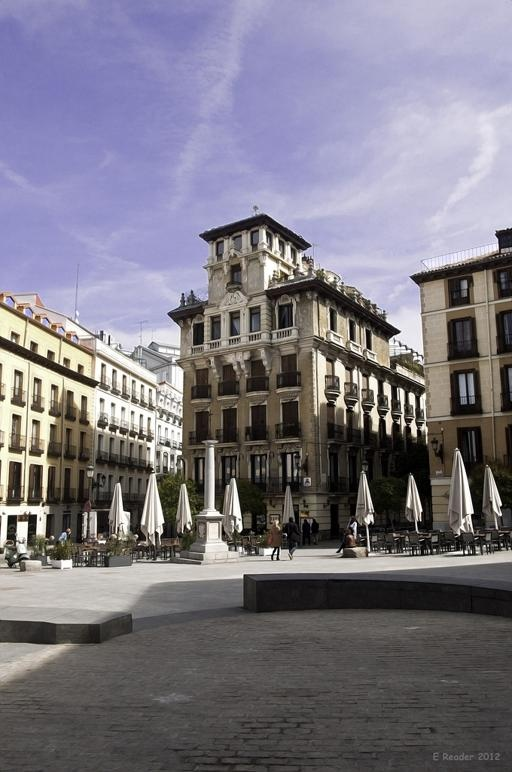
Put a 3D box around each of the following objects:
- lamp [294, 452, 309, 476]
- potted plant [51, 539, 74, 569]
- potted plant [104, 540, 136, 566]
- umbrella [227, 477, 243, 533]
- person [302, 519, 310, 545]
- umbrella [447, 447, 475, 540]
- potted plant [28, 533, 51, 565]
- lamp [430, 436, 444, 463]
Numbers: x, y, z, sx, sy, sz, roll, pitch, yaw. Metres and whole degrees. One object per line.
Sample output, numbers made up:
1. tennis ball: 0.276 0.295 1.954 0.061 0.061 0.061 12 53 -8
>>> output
1. lamp: 2.760 4.952 40.946 0.706 1.287 1.117 -6 -12 30
2. potted plant: -6.373 5.487 21.219 0.639 0.831 1.439 3 -11 -18
3. potted plant: -4.622 5.565 21.812 0.514 1.099 1.145 -18 -20 32
4. umbrella: -0.904 4.851 26.682 0.511 2.164 1.234 0 -10 -3
5. person: 2.895 8.461 37.679 0.488 1.287 1.148 -1 -10 5
6. umbrella: 7.080 3.653 22.609 0.730 3.027 1.859 -4 -11 18
7. potted plant: -7.594 5.730 22.721 0.682 0.987 2.129 3 -11 -19
8. lamp: 10.079 3.513 36.303 0.563 1.430 1.046 -6 -12 29
